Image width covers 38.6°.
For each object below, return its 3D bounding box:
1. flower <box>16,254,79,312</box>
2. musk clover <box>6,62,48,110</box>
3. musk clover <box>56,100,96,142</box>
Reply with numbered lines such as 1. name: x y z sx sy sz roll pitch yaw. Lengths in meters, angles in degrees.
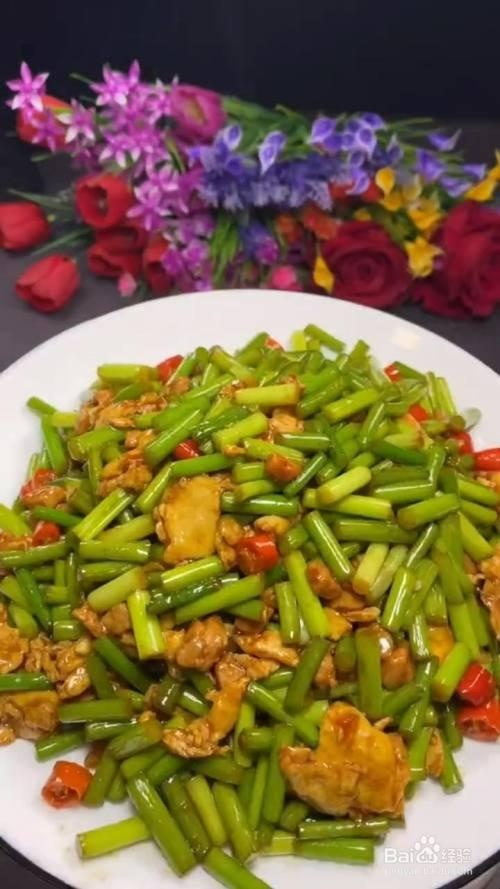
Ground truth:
1. flower: -0.906 -0.737 3.294 0.214 0.125 0.279 27 67 21
2. musk clover: -0.924 -1.446 2.896 0.137 0.176 0.170 8 33 16
3. musk clover: -0.721 -1.333 2.950 0.156 0.157 0.099 25 41 37
